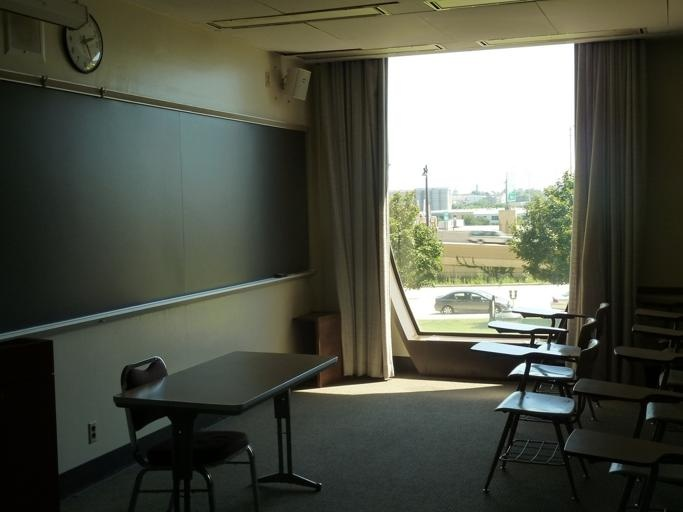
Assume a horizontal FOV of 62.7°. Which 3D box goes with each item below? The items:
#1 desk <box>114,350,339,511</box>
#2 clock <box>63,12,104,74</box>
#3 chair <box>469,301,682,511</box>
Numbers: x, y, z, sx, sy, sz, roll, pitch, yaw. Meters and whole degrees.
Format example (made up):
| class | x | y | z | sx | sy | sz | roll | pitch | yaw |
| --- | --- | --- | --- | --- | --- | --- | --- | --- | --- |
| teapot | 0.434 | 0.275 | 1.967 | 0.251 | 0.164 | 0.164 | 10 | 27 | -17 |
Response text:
| class | x | y | z | sx | sy | sz | roll | pitch | yaw |
| --- | --- | --- | --- | --- | --- | --- | --- | --- | --- |
| desk | -0.716 | 1.259 | 3.676 | 0.851 | 1.003 | 1.275 | 2 | 6 | 30 |
| clock | -1.877 | -1.558 | 4.121 | 0.078 | 0.424 | 0.328 | 1 | 6 | 23 |
| chair | 1.568 | 1.096 | 4.399 | 0.919 | 1.162 | 1.711 | 1 | 6 | 25 |
